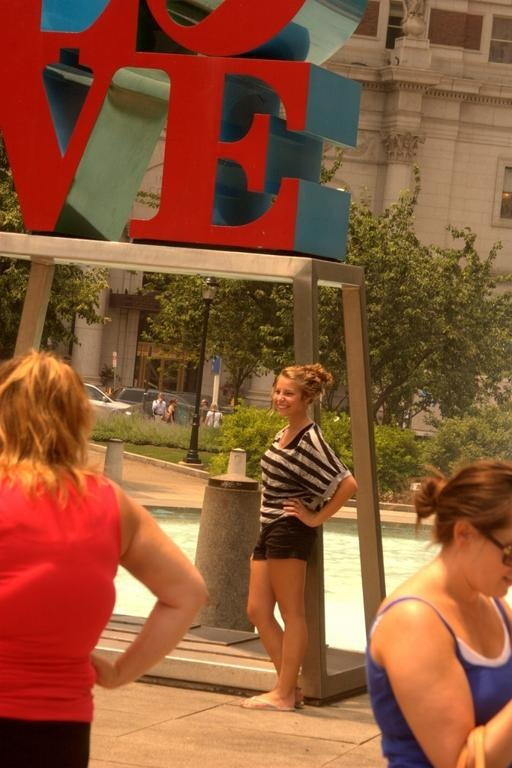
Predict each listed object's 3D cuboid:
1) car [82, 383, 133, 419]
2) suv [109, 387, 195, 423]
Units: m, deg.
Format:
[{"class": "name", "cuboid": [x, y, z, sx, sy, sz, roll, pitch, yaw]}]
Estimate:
[{"class": "car", "cuboid": [-5.743, 0.700, 26.999, 3.369, 1.157, 1.593, 1, 1, 35]}, {"class": "suv", "cuboid": [-5.419, 0.992, 36.566, 4.147, 2.001, 2.175, -1, -1, 35]}]
